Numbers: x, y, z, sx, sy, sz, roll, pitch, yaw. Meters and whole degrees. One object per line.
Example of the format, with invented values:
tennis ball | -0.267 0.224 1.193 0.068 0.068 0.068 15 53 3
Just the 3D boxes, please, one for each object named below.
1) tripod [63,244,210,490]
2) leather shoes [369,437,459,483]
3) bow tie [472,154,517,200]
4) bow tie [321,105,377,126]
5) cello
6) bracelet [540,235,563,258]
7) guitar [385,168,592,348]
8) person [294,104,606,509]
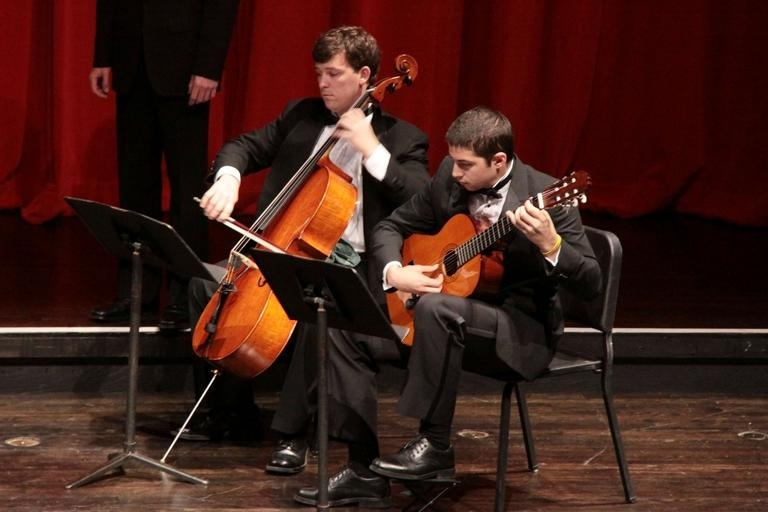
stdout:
tripod | -1.055 0.464 3.570 0.591 1.053 0.282 2 5 -13
leather shoes | 0.130 0.830 3.382 0.397 0.178 0.156 7 -2 -28
bow tie | 0.472 -0.317 3.456 0.138 0.182 0.050 16 -22 33
bow tie | -0.162 -0.664 3.888 0.188 0.043 0.106 -25 5 -22
cello | -0.405 -0.034 3.785 0.503 1.871 0.684 43 -12 -9
bracelet | 0.653 -0.034 3.204 0.079 0.043 0.087 -24 24 28
guitar | 0.436 -0.035 3.424 0.149 0.475 1.060 19 -40 -35
person | 0.311 0.217 3.433 1.131 1.682 0.528 4 5 14
